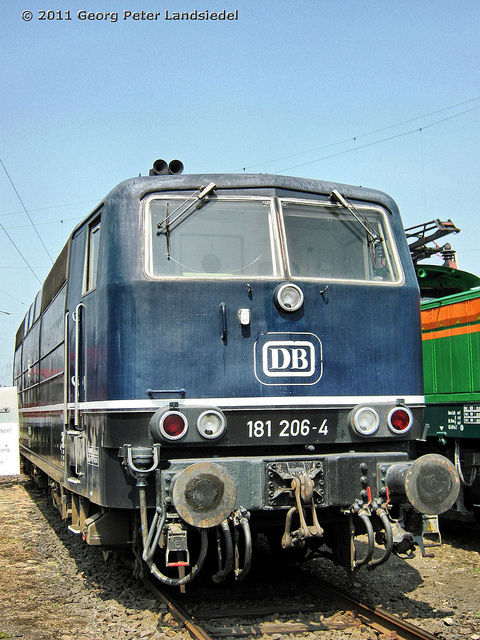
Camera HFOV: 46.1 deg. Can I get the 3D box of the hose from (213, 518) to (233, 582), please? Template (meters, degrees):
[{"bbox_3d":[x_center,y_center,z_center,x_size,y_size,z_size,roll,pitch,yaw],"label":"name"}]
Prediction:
[{"bbox_3d":[-0.114,1.519,3.663,0.130,0.474,0.332,-3,-6,-5],"label":"hose"}]

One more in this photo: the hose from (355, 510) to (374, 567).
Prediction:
[{"bbox_3d":[0.821,1.536,3.845,0.195,0.323,0.033,22,-24,-31],"label":"hose"}]

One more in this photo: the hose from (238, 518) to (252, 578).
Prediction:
[{"bbox_3d":[0.022,1.487,3.626,0.089,0.384,0.296,-3,-6,-2],"label":"hose"}]

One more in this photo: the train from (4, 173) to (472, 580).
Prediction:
[{"bbox_3d":[-0.587,0.636,6.949,1.976,2.722,6.989,0,-6,-12],"label":"train"}]
